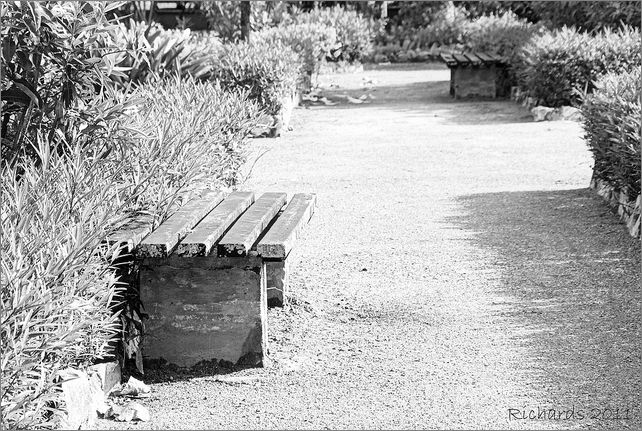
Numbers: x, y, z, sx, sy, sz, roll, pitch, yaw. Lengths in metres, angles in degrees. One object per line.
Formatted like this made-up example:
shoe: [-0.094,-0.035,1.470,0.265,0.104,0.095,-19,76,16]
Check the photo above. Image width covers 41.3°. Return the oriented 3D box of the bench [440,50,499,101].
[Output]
bench: [3.185,-2.884,17.498,1.151,0.799,1.375,1,14,12]

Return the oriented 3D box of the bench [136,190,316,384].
bench: [-0.829,0.628,6.330,0.963,0.864,1.792,3,-2,-6]
